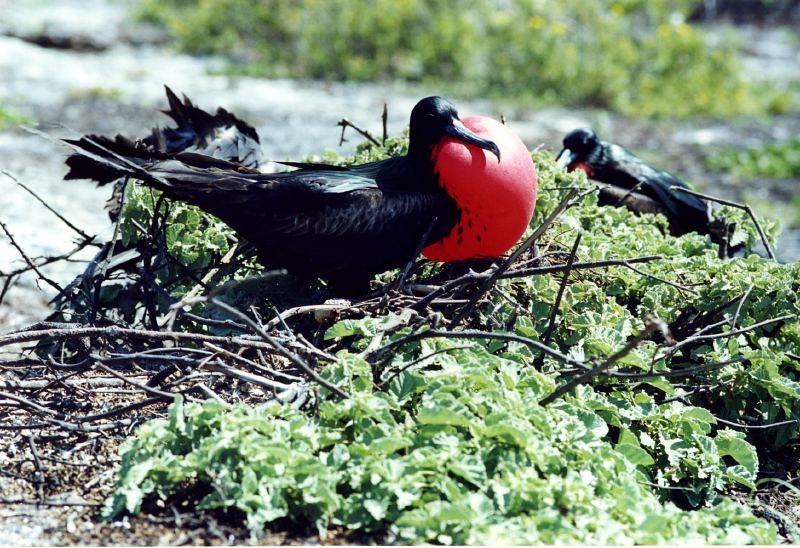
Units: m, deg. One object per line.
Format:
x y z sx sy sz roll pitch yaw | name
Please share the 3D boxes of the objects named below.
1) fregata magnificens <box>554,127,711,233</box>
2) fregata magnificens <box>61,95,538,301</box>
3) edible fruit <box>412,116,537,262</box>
1.928 -0.786 7.697 1.522 0.550 0.464 1 6 -21 | fregata magnificens
-0.515 -0.495 5.639 2.847 1.052 0.714 4 18 1 | fregata magnificens
0.490 -0.469 5.652 0.841 0.737 0.660 12 5 41 | edible fruit
